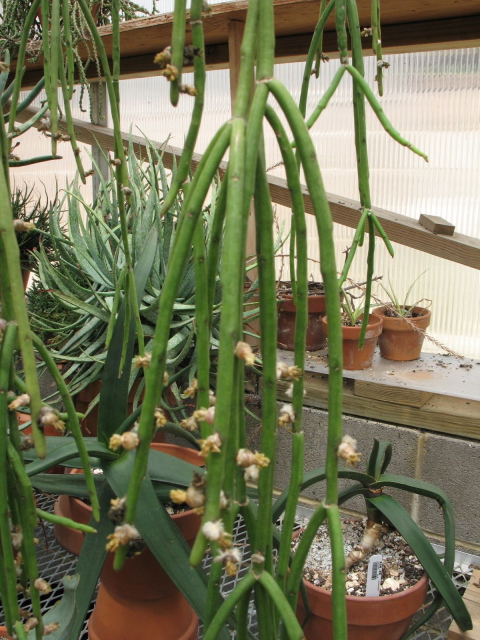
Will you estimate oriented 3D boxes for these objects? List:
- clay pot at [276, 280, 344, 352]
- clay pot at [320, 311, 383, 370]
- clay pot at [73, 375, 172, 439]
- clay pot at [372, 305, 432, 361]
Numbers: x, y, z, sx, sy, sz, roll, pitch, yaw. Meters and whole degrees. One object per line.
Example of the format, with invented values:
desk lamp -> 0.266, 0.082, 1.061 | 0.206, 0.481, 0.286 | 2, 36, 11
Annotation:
clay pot -> 0.151, -0.011, 1.136 | 0.142, 0.130, 0.146 | 0, 3, 0
clay pot -> 0.240, 0.046, 1.082 | 0.120, 0.103, 0.125 | -3, 15, 1
clay pot -> -0.201, 0.112, 0.883 | 0.132, 0.157, 0.161 | 2, 2, 1
clay pot -> 0.350, 0.017, 1.118 | 0.118, 0.100, 0.122 | 0, 5, 0
